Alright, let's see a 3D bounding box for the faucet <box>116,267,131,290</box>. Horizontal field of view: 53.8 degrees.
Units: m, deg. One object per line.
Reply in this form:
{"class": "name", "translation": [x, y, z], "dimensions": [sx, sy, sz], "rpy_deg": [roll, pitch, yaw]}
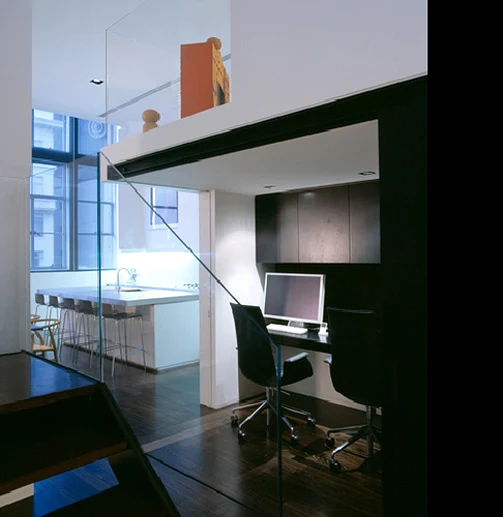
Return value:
{"class": "faucet", "translation": [-0.374, 0.055, 1.438], "dimensions": [0.038, 0.061, 0.103], "rpy_deg": [-1, 1, -16]}

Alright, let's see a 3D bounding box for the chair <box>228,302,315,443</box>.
{"class": "chair", "translation": [0.041, 0.277, 1.244], "dimensions": [0.190, 0.342, 0.205], "rpy_deg": [-11, 14, -43]}

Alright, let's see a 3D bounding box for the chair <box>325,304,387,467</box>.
{"class": "chair", "translation": [0.226, 0.289, 1.092], "dimensions": [0.130, 0.358, 0.156], "rpy_deg": [0, 1, 16]}
